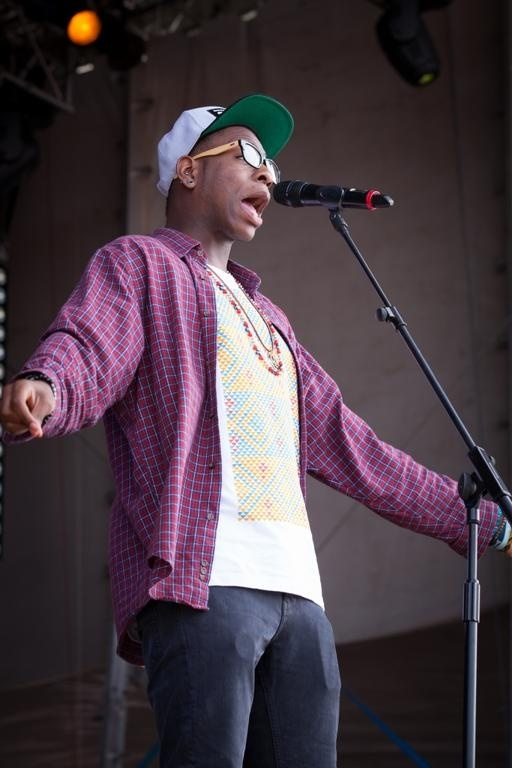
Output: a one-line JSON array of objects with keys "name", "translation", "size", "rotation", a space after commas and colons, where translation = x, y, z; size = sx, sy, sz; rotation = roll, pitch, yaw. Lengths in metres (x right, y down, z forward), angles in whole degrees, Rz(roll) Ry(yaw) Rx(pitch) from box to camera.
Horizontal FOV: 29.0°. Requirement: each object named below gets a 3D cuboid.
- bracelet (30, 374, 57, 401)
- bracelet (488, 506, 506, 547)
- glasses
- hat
[{"name": "bracelet", "translation": [-0.318, 0.009, 1.481], "size": [0.034, 0.014, 0.039], "rotation": [24, 0, -7]}, {"name": "bracelet", "translation": [0.509, 0.302, 2.077], "size": [0.029, 0.081, 0.038], "rotation": [-3, -19, 45]}, {"name": "glasses", "translation": [-0.038, -0.483, 2.130], "size": [0.125, 0.034, 0.121], "rotation": [-17, -31, 28]}, {"name": "hat", "translation": [-0.092, -0.586, 2.248], "size": [0.195, 0.146, 0.313], "rotation": [-12, -11, -42]}]
